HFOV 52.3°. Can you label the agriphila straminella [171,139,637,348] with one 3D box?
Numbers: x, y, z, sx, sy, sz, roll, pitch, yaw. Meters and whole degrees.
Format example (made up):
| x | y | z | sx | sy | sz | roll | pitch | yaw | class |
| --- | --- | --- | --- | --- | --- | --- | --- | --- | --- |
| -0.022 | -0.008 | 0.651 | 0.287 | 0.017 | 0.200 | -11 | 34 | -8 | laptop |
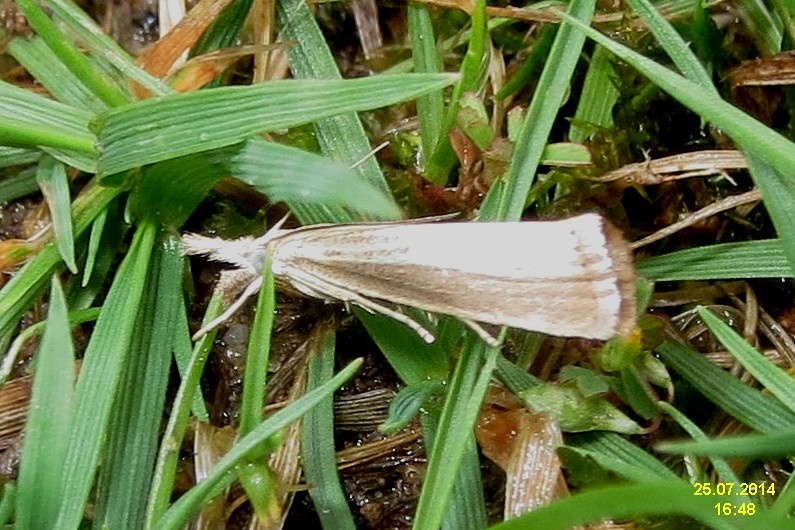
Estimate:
| x | y | z | sx | sy | sz | roll | pitch | yaw | class |
| --- | --- | --- | --- | --- | --- | --- | --- | --- | --- |
| 0.069 | 0.016 | 1.123 | 0.499 | 0.118 | 0.152 | 0 | 53 | 15 | agriphila straminella |
